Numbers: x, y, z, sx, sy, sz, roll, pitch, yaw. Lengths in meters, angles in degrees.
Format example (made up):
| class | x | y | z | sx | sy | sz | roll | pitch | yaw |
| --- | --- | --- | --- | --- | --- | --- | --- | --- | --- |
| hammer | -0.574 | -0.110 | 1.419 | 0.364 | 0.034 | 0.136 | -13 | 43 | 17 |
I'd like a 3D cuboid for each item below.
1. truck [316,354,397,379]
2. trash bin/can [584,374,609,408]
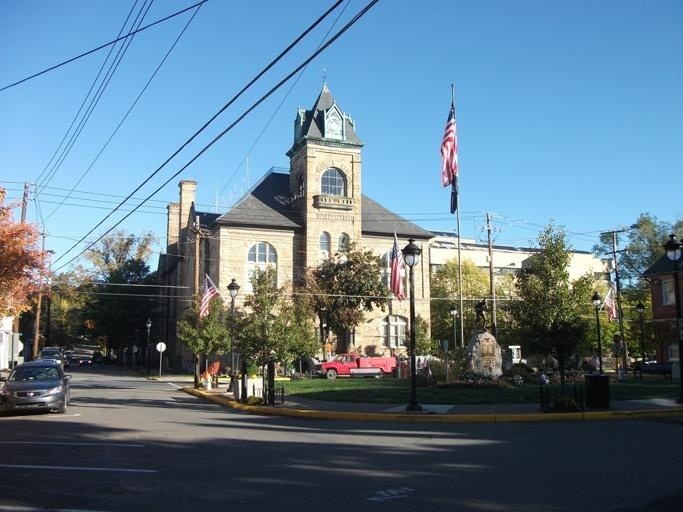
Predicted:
| class | x | y | z | sx | sy | sz | roll | pitch | yaw |
| --- | --- | --- | --- | --- | --- | --- | --- | --- | --- |
| truck | 1.181 | 7.002 | 50.059 | 4.315 | 1.392 | 2.002 | 4 | -17 | -12 |
| trash bin/can | 8.479 | 4.494 | 26.168 | 0.564 | 1.009 | 1.028 | -1 | -2 | -1 |
